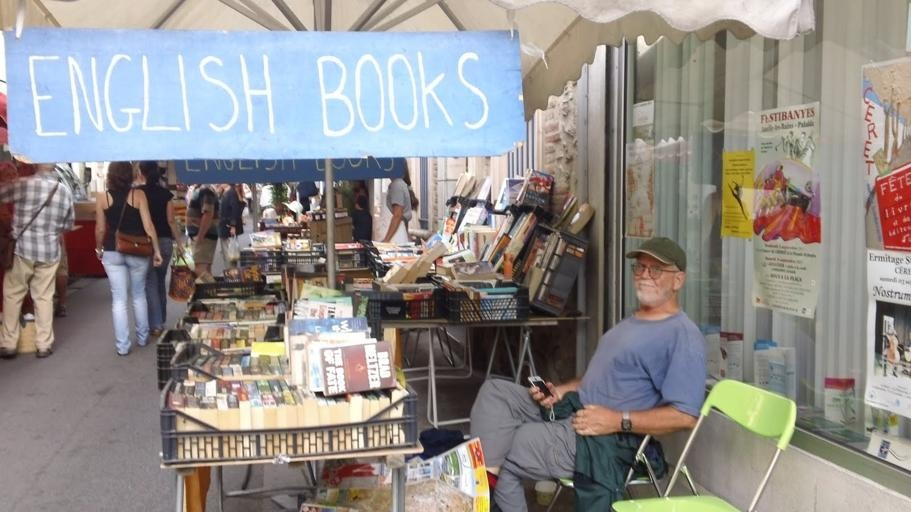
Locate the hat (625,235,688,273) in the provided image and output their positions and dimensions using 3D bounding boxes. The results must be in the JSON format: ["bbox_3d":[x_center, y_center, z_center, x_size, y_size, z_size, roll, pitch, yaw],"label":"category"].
[{"bbox_3d":[1.634,-0.008,6.034,0.379,0.193,0.286,26,-5,-24],"label":"hat"}]

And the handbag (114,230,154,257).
[{"bbox_3d":[-4.157,-0.169,9.995,0.160,0.283,0.473,-3,0,39],"label":"handbag"}]

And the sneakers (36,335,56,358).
[{"bbox_3d":[-5.323,1.189,9.973,0.192,0.285,0.294,0,-11,-11],"label":"sneakers"}]

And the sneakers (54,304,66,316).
[{"bbox_3d":[-6.258,0.852,12.159,0.127,0.138,0.327,0,-1,-26],"label":"sneakers"}]

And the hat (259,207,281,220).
[{"bbox_3d":[-4.591,-1.046,19.042,0.555,0.445,0.855,-1,7,-19],"label":"hat"}]

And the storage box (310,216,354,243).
[{"bbox_3d":[-2.029,-0.431,12.544,0.806,0.595,0.791,0,-2,-13],"label":"storage box"}]
